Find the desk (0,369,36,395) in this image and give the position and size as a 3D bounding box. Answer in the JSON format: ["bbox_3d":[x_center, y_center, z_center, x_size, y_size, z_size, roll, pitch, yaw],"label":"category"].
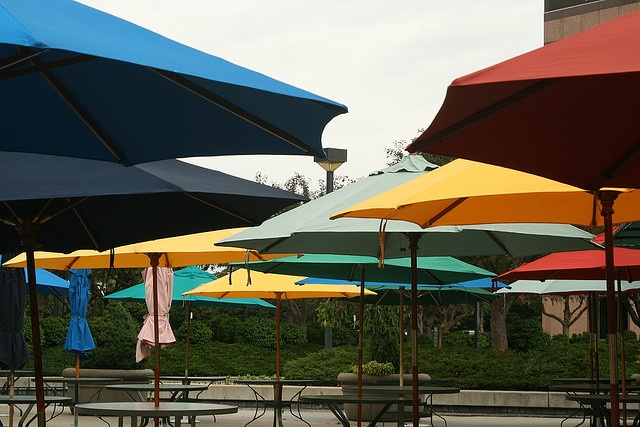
[{"bbox_3d":[-7.237,3.986,25.522,0.815,0.667,5.683,2,-11,-15],"label":"desk"}]
